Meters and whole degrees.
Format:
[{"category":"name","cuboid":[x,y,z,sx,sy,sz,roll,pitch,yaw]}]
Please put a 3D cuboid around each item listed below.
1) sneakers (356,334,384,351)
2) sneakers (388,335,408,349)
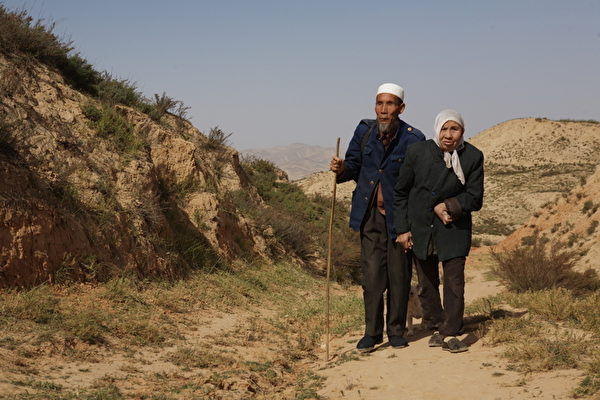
[{"category":"sneakers","cuboid":[1.416,2.850,15.128,0.579,0.270,0.250,-2,-2,-37]},{"category":"sneakers","cuboid":[1.967,2.790,14.869,0.185,0.157,0.382,2,-11,-22]}]
